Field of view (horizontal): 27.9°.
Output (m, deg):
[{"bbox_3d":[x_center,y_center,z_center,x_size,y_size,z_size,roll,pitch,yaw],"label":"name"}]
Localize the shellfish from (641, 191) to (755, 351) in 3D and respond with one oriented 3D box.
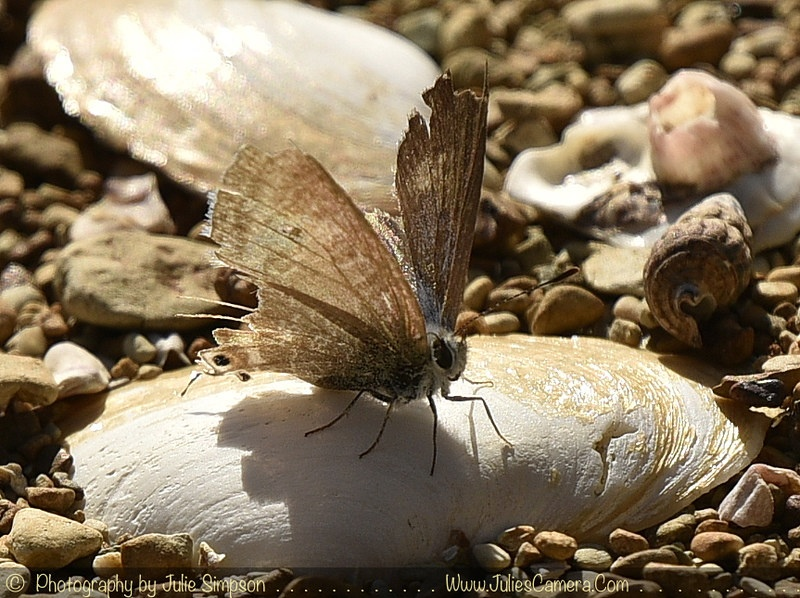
[{"bbox_3d":[1.330,-0.136,7.003,0.363,0.437,0.601,29,54,29],"label":"shellfish"}]
